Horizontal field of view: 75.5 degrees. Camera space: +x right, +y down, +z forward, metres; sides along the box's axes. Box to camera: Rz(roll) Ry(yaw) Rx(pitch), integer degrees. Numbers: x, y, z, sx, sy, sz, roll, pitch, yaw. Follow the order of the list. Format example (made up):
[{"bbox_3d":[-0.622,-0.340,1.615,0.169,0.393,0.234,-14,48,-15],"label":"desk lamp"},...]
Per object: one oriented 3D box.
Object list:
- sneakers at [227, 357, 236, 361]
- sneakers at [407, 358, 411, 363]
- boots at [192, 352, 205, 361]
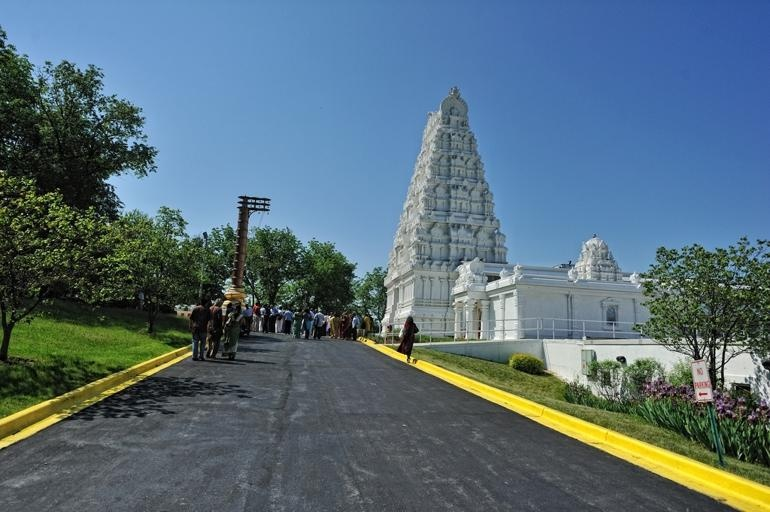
[{"bbox_3d":[-6.208,4.115,19.993,0.224,0.160,0.120,0,-16,-21],"label":"sneakers"},{"bbox_3d":[1.073,4.790,22.828,0.177,0.189,0.174,3,-19,-12],"label":"sneakers"},{"bbox_3d":[-7.354,3.971,19.633,0.372,0.534,0.329,-5,-11,21],"label":"boots"}]
